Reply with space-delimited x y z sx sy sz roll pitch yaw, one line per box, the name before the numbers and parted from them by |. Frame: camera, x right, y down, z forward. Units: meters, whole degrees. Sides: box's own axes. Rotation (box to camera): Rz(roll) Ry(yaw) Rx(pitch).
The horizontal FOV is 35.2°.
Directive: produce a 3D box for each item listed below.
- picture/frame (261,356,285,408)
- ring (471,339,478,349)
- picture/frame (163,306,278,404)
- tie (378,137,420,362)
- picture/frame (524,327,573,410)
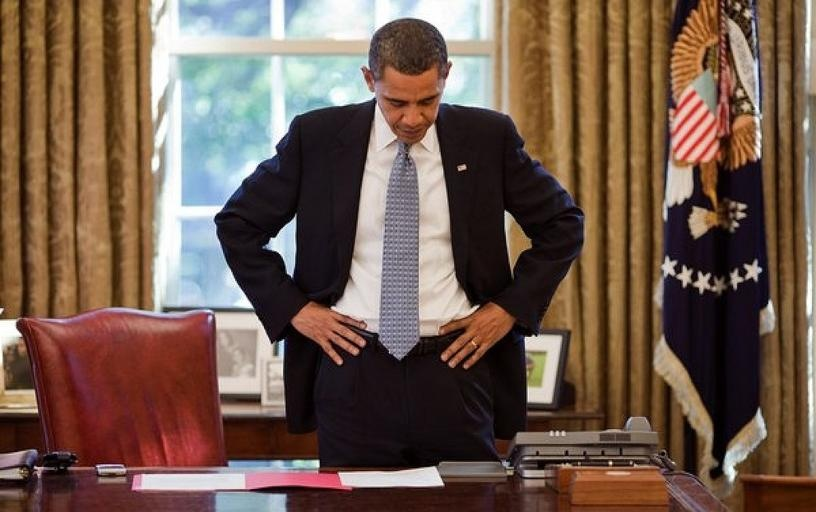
picture/frame | -0.611 0.591 5.972 0.159 0.215 0.019 6 -11 -38
ring | 0.261 0.346 4.980 0.023 0.028 0.011 10 39 32
picture/frame | -0.803 0.449 5.538 0.457 0.355 0.034 -1 -10 -2
tie | -0.036 -0.017 4.979 0.162 0.831 0.099 -1 1 -1
picture/frame | 0.569 0.537 5.983 0.304 0.411 0.024 0 -41 20
